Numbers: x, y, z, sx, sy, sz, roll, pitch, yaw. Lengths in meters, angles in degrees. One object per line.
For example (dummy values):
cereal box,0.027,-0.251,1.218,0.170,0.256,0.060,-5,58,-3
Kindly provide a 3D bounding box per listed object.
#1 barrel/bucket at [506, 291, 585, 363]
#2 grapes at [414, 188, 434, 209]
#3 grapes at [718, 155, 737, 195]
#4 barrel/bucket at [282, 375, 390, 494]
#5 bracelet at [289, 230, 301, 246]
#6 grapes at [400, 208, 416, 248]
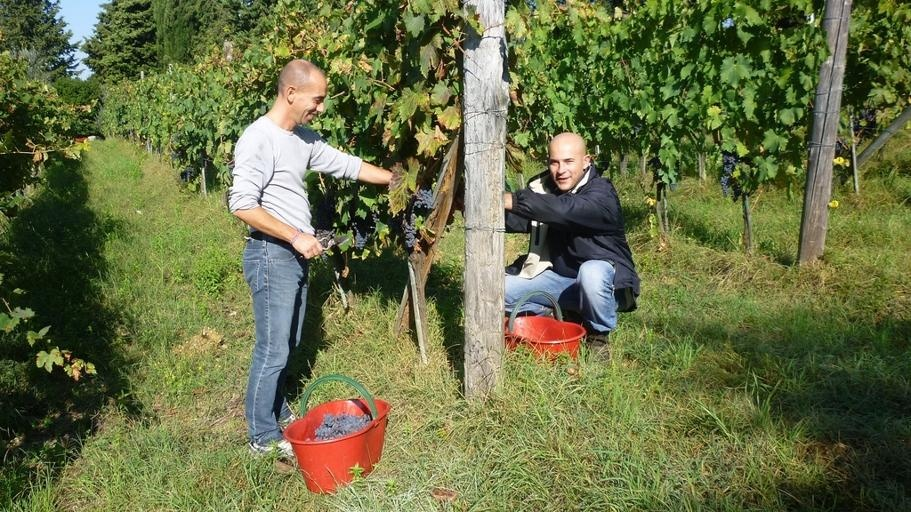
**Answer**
barrel/bucket,0.953,0.841,8.227,0.622,0.712,0.926,-6,7,-27
grapes,-0.378,-0.659,8.079,0.215,0.165,0.201,-16,34,-22
grapes,4.063,-1.179,10.406,0.281,0.714,0.422,5,13,21
barrel/bucket,-1.263,1.849,7.759,0.942,1.168,1.249,1,7,21
bracelet,-1.711,-0.179,7.455,0.161,0.195,0.149,-3,13,-17
grapes,-0.553,-0.305,8.204,0.144,0.484,0.204,0,12,-1
